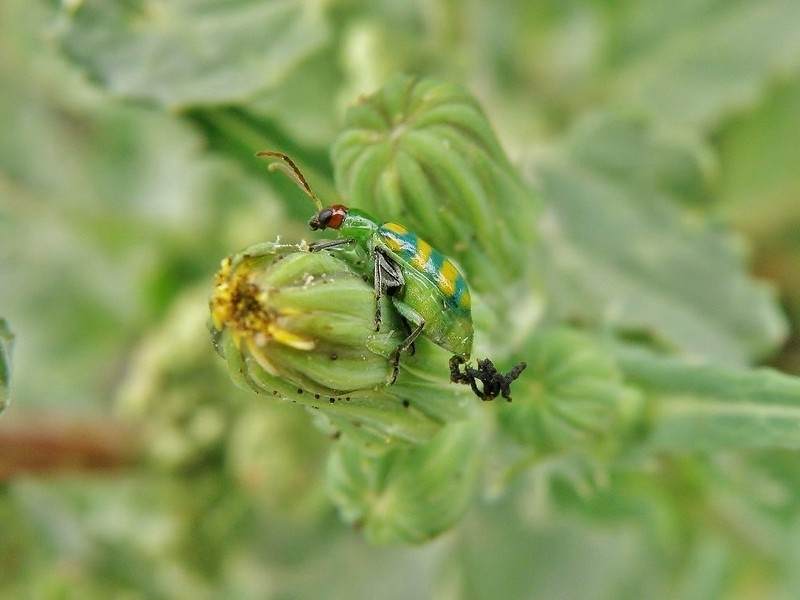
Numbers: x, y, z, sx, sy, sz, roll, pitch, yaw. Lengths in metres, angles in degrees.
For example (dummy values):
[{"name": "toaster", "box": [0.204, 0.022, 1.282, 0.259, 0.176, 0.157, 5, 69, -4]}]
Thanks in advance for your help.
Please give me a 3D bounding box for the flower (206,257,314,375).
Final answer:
[{"name": "flower", "box": [-0.344, 0.031, 2.063, 0.254, 0.270, 0.088, 23, 68, 45]}]
